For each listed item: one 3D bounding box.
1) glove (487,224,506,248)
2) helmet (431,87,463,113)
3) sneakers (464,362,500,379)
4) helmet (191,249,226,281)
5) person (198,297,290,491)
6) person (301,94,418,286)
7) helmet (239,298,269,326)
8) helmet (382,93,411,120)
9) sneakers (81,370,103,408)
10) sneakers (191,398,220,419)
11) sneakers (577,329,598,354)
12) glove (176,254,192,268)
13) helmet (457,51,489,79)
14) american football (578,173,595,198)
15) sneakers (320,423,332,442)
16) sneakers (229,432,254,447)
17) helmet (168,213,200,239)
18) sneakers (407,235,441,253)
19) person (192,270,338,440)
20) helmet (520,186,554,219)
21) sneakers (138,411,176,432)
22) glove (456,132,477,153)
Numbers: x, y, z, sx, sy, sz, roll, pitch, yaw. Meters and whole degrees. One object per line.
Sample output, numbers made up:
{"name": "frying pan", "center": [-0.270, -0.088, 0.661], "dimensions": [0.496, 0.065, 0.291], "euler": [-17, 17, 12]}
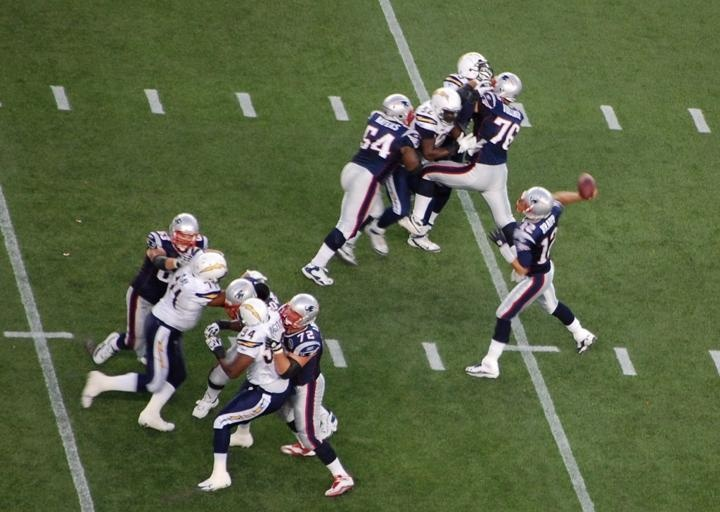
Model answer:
{"name": "glove", "center": [1.559, -0.248, 14.099], "dimensions": [0.060, 0.195, 0.195], "euler": [-33, 39, -16]}
{"name": "helmet", "center": [1.028, -1.843, 14.468], "dimensions": [0.325, 0.261, 0.242], "euler": [21, 51, 8]}
{"name": "sneakers", "center": [1.436, 1.328, 14.333], "dimensions": [0.416, 0.201, 0.161], "euler": [4, 17, 2]}
{"name": "helmet", "center": [-1.637, 0.096, 13.275], "dimensions": [0.376, 0.270, 0.304], "euler": [1, 13, -10]}
{"name": "person", "center": [-1.209, 1.548, 13.213], "dimensions": [0.954, 1.885, 1.124], "euler": [15, 32, 0]}
{"name": "person", "center": [0.112, -0.742, 14.808], "dimensions": [0.786, 2.048, 1.430], "euler": [23, 36, 5]}
{"name": "helmet", "center": [-1.079, 0.575, 12.865], "dimensions": [0.240, 0.290, 0.295], "euler": [-27, 50, -28]}
{"name": "helmet", "center": [0.467, -1.758, 14.852], "dimensions": [0.334, 0.268, 0.264], "euler": [-16, 68, -5]}
{"name": "sneakers", "center": [-2.990, 1.470, 13.651], "dimensions": [0.190, 0.452, 0.168], "euler": [16, 19, -28]}
{"name": "sneakers", "center": [-1.718, 1.659, 13.706], "dimensions": [0.154, 0.144, 0.323], "euler": [43, 77, 10]}
{"name": "sneakers", "center": [2.672, 0.993, 14.545], "dimensions": [0.235, 0.332, 0.170], "euler": [-18, 60, -25]}
{"name": "glove", "center": [-1.898, 0.068, 13.338], "dimensions": [0.170, 0.143, 0.110], "euler": [-2, 40, -27]}
{"name": "helmet", "center": [1.382, -2.353, 15.069], "dimensions": [0.366, 0.293, 0.289], "euler": [-13, 19, 5]}
{"name": "american football", "center": [2.634, -0.822, 14.240], "dimensions": [0.160, 0.201, 0.270], "euler": [-7, 67, 10]}
{"name": "sneakers", "center": [-0.350, 1.909, 13.326], "dimensions": [0.073, 0.173, 0.103], "euler": [15, 5, 42]}
{"name": "sneakers", "center": [-1.274, 2.010, 13.588], "dimensions": [0.308, 0.213, 0.112], "euler": [4, 19, -1]}
{"name": "helmet", "center": [-1.921, -0.329, 13.482], "dimensions": [0.233, 0.242, 0.296], "euler": [9, -2, -26]}
{"name": "sneakers", "center": [0.814, -0.146, 15.417], "dimensions": [0.439, 0.198, 0.168], "euler": [15, 39, -5]}
{"name": "person", "center": [-1.084, 1.234, 13.190], "dimensions": [1.428, 1.883, 0.805], "euler": [21, 29, 13]}
{"name": "helmet", "center": [1.974, -0.583, 13.879], "dimensions": [0.430, 0.357, 0.349], "euler": [12, 9, 28]}
{"name": "sneakers", "center": [-2.223, 1.845, 13.565], "dimensions": [0.459, 0.199, 0.159], "euler": [11, 42, -17]}
{"name": "glove", "center": [1.288, -1.357, 14.844], "dimensions": [0.240, 0.224, 0.303], "euler": [13, 36, -9]}
